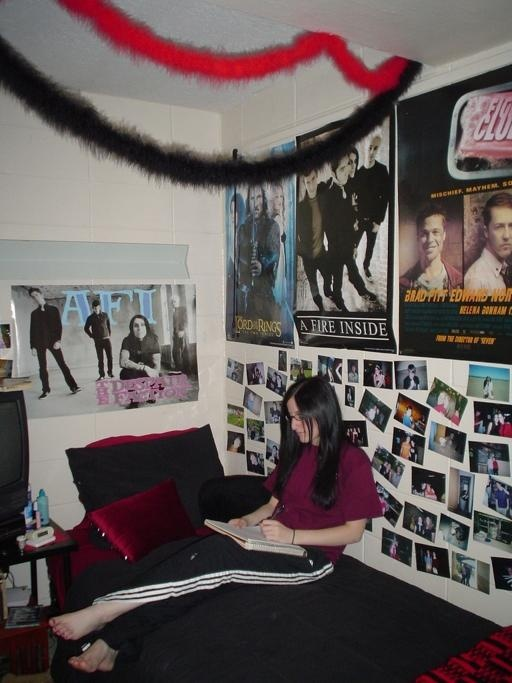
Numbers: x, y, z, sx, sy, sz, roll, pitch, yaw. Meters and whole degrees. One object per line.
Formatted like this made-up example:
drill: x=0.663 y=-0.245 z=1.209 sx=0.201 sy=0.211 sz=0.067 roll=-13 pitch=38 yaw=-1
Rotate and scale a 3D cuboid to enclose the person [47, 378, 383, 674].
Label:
person: x=-0.067 y=0.461 z=1.906 sx=1.378 sy=1.056 sz=0.702 roll=-6 pitch=-1 yaw=-38
